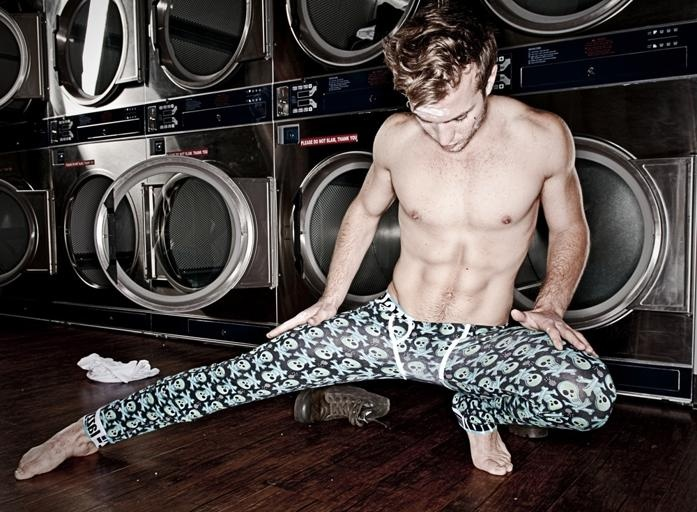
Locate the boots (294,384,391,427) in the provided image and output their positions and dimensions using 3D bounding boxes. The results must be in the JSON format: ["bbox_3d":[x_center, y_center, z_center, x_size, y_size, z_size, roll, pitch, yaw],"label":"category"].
[{"bbox_3d":[-0.031,0.507,1.971,0.260,0.118,0.145,-6,14,8],"label":"boots"}]
